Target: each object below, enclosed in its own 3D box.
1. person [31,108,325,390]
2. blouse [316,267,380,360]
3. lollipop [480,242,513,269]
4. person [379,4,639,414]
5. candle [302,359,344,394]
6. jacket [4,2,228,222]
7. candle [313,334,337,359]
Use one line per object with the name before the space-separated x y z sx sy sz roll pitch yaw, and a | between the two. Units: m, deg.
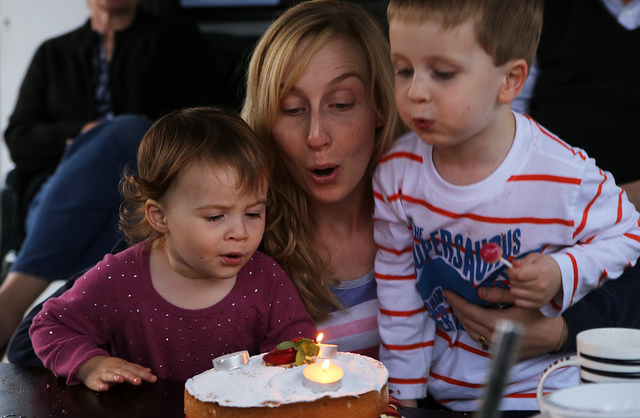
person | -0.633 0.232 3.132 1.241 1.319 0.835 1 9 -21
blouse | 0.125 0.495 3.327 0.374 0.390 0.206 -5 4 7
lollipop | 0.711 0.180 2.917 0.145 0.071 0.067 29 44 -24
person | 0.778 0.043 3.097 1.032 1.801 0.663 -2 23 3
candle | 0.014 0.610 2.649 0.117 0.090 0.122 1 4 7
jacket | -1.285 -0.594 4.268 1.255 1.137 0.747 -4 -11 1
candle | 0.024 0.522 2.707 0.086 0.068 0.068 -1 -2 31
